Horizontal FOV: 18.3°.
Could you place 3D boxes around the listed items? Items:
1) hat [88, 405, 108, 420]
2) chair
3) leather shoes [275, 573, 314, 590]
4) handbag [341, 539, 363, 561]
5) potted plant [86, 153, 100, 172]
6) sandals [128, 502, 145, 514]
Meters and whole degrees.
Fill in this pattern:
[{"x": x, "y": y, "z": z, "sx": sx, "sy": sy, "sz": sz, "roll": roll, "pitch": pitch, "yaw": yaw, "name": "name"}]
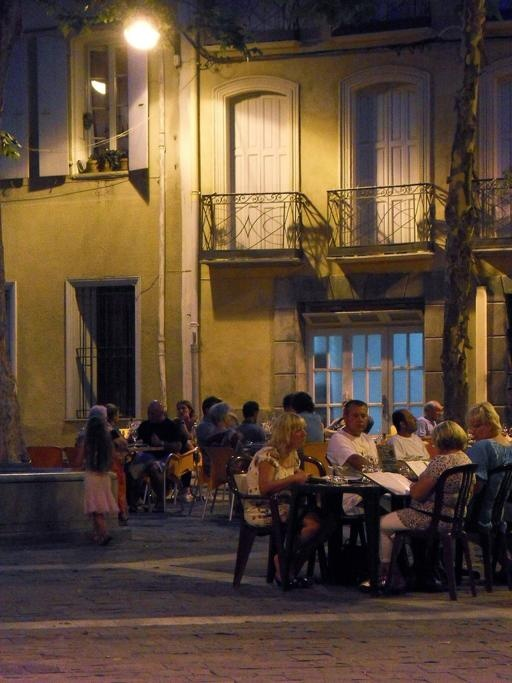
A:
[{"x": -1.482, "y": 0.661, "z": 14.933, "sx": 0.140, "sy": 0.216, "sz": 0.199, "roll": 1, "pitch": 9, "yaw": -2, "name": "hat"}, {"x": 0.898, "y": 1.189, "z": 12.158, "sx": 1.721, "sy": 1.290, "sz": 1.207, "roll": -1, "pitch": -4, "yaw": 36, "name": "chair"}, {"x": 0.287, "y": 1.802, "z": 12.072, "sx": 0.290, "sy": 0.134, "sz": 0.104, "roll": -6, "pitch": 9, "yaw": -9, "name": "leather shoes"}, {"x": 0.764, "y": 1.586, "z": 12.323, "sx": 0.160, "sy": 0.132, "sz": 0.094, "roll": 3, "pitch": 4, "yaw": 24, "name": "handbag"}, {"x": -2.364, "y": -2.592, "z": 23.103, "sx": 0.243, "sy": 0.229, "sz": 0.088, "roll": 6, "pitch": 9, "yaw": 37, "name": "potted plant"}, {"x": -1.320, "y": 1.836, "z": 17.821, "sx": 0.216, "sy": 0.171, "sz": 0.078, "roll": 0, "pitch": -1, "yaw": 16, "name": "sandals"}]
